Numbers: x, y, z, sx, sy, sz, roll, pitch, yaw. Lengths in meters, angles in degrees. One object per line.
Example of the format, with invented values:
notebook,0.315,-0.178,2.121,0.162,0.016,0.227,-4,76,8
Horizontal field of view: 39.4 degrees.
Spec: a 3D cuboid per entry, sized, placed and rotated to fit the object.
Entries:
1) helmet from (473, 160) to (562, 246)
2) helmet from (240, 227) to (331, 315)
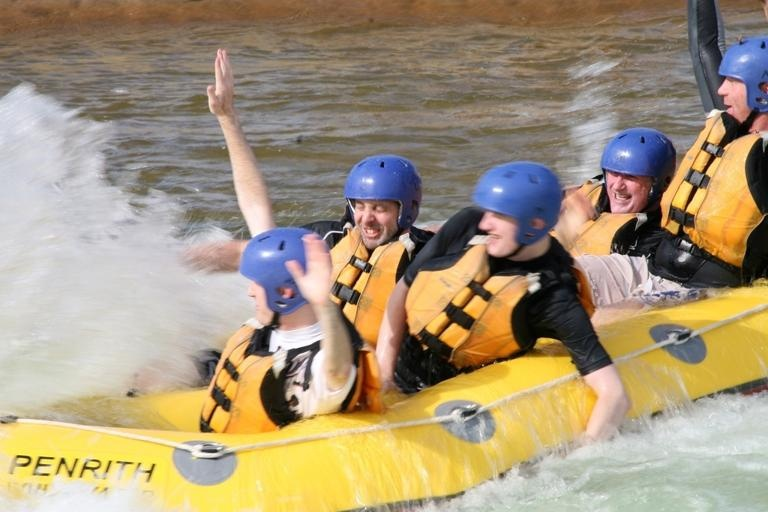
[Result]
helmet,0.973,-0.383,7.848,0.649,0.572,0.380,-2,25,5
helmet,-0.739,0.096,7.390,0.506,0.562,0.449,-5,24,0
